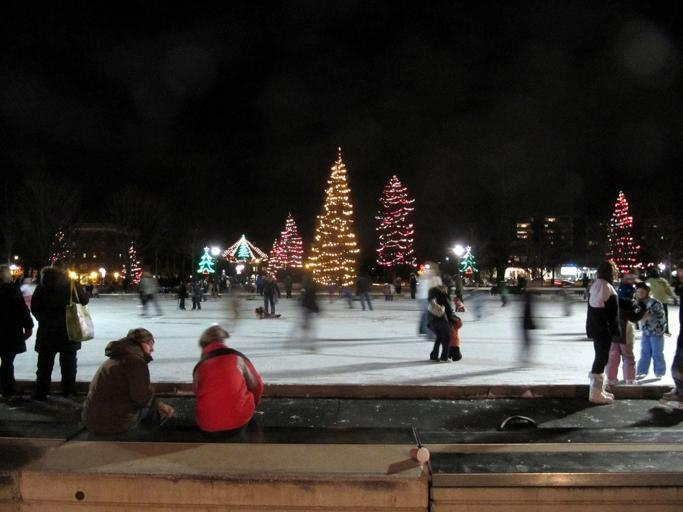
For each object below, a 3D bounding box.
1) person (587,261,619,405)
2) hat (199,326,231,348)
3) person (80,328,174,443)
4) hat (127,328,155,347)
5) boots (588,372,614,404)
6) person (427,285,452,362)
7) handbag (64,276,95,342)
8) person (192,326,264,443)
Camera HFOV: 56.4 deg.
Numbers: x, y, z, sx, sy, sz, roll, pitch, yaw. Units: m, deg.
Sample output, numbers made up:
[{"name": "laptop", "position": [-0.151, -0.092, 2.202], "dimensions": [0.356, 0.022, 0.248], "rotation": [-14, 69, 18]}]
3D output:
[{"name": "person", "position": [3.808, 1.098, 9.212], "dimensions": [0.451, 2.063, 0.446], "rotation": [-1, -4, -12]}, {"name": "hat", "position": [-1.445, 0.913, 7.226], "dimensions": [0.232, 0.217, 0.287], "rotation": [-2, -4, -4]}, {"name": "person", "position": [-2.498, 1.375, 7.515], "dimensions": [1.169, 1.387, 0.993], "rotation": [1, 11, -45]}, {"name": "hat", "position": [-2.278, 0.925, 7.173], "dimensions": [0.239, 0.192, 0.178], "rotation": [1, 3, -35]}, {"name": "boots", "position": [3.651, 1.924, 9.185], "dimensions": [0.454, 0.469, 0.287], "rotation": [1, -2, -4]}, {"name": "person", "position": [1.866, 1.262, 12.019], "dimensions": [0.449, 1.451, 0.487], "rotation": [-2, -4, 8]}, {"name": "handbag", "position": [-3.880, 0.806, 9.395], "dimensions": [0.368, 0.936, 0.388], "rotation": [-1, -4, -10]}, {"name": "person", "position": [-1.365, 1.383, 7.161], "dimensions": [0.833, 1.549, 1.104], "rotation": [0, 12, -4]}]
